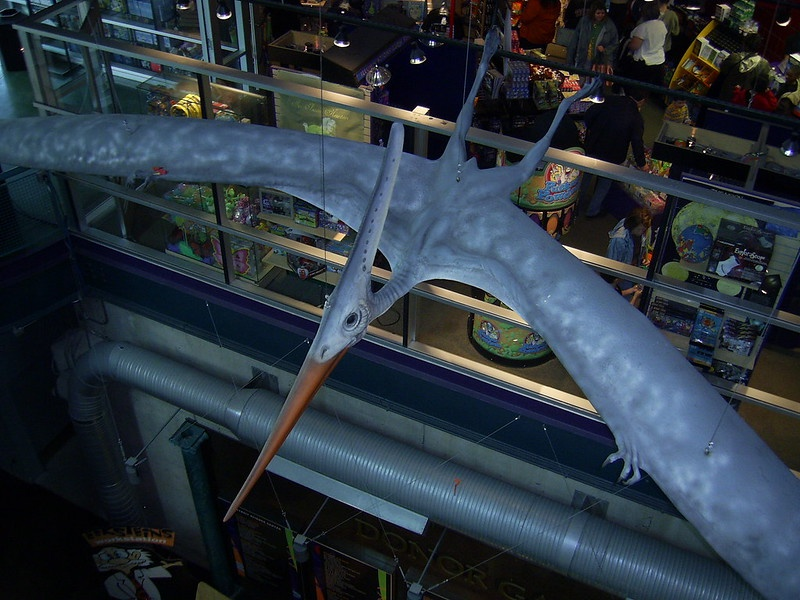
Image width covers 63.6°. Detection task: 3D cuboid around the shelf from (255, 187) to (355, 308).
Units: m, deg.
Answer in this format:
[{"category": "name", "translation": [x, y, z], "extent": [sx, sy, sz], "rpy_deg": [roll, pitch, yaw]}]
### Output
[{"category": "shelf", "translation": [-0.762, -0.418, 4.976], "extent": [0.889, 0.809, 0.294], "rpy_deg": [22, 45, 15]}]
